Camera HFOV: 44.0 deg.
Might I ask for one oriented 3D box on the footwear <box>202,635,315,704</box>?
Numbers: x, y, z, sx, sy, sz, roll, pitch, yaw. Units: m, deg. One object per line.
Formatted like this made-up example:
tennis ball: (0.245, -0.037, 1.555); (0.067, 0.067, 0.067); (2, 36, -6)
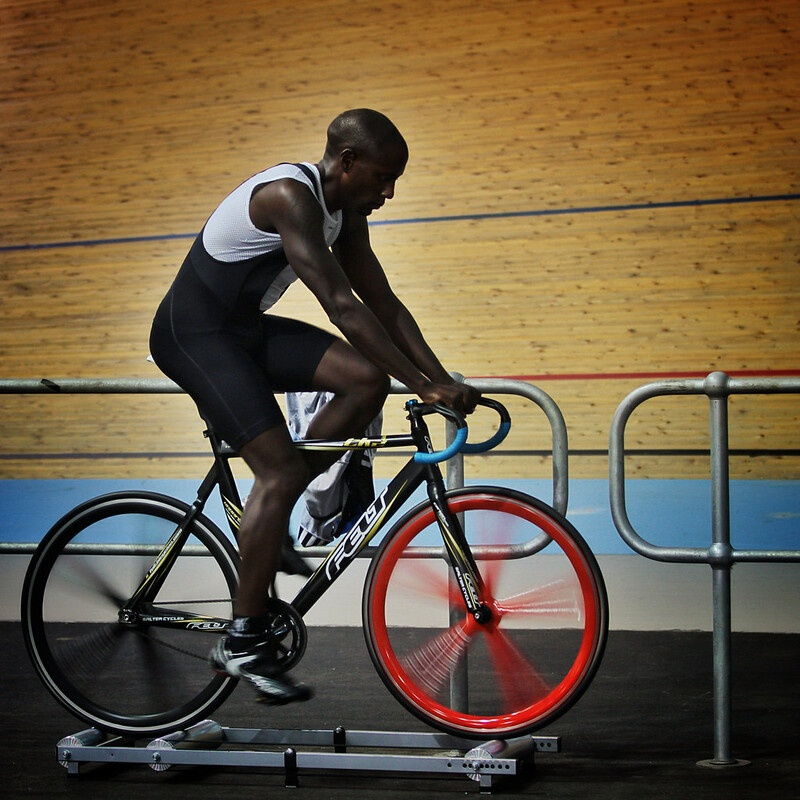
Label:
footwear: (-0.378, 0.765, 2.866); (0.397, 0.145, 0.133); (8, -2, 40)

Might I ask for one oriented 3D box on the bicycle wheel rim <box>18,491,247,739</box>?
bicycle wheel rim: (-0.827, 0.684, 3.386); (1.155, 0.672, 0.213); (5, -2, 9)

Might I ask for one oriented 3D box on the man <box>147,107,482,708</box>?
man: (-0.275, 0.000, 2.961); (0.867, 1.716, 0.587); (-1, 6, -16)

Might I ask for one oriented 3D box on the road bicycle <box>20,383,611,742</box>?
road bicycle: (-0.335, 0.583, 3.237); (2.369, 0.949, 0.634); (-11, -25, 34)

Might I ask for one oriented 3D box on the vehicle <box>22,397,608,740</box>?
vehicle: (-0.300, 0.575, 3.235); (2.471, 0.976, 0.670); (-9, -19, 38)
